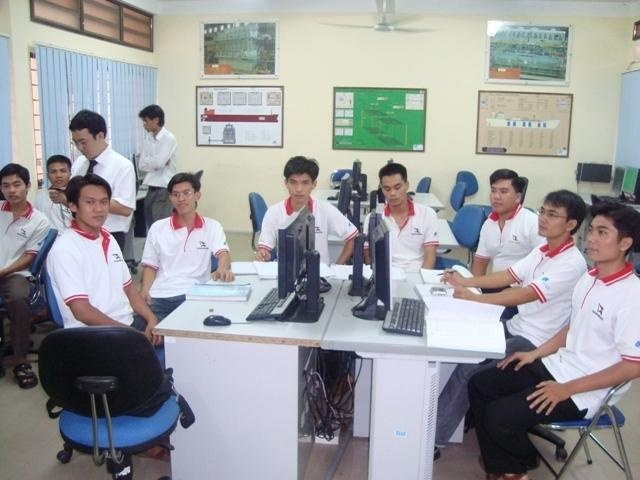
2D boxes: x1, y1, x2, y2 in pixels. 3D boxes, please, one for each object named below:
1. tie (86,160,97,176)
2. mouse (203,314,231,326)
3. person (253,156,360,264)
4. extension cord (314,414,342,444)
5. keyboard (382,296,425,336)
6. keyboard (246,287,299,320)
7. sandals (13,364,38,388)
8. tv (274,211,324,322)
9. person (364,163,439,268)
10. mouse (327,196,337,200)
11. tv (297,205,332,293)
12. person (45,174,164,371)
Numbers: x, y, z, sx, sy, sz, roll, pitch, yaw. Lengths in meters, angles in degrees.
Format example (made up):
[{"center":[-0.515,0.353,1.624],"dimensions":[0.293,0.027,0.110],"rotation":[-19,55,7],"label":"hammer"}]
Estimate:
[{"center":[-1.691,-0.553,3.887],"dimensions":[0.075,0.093,0.169],"rotation":[-6,14,-26],"label":"tie"},{"center":[-0.539,0.421,2.756],"dimensions":[0.094,0.032,0.067],"rotation":[-1,7,-4],"label":"mouse"},{"center":[-0.118,-0.070,3.807],"dimensions":[0.757,1.051,0.608],"rotation":[-1,5,-4],"label":"person"},{"center":[0.049,1.193,3.314],"dimensions":[0.162,0.164,0.101],"rotation":[3,-5,-17],"label":"extension cord"},{"center":[0.464,0.410,2.852],"dimensions":[0.203,0.054,0.327],"rotation":[7,24,7],"label":"keyboard"},{"center":[-0.273,0.360,2.960],"dimensions":[0.173,0.059,0.352],"rotation":[-3,17,6],"label":"keyboard"},{"center":[-2.108,0.966,3.754],"dimensions":[0.138,0.131,0.208],"rotation":[-8,15,-34],"label":"sandals"},{"center":[-0.116,0.163,2.897],"dimensions":[0.175,0.539,0.519],"rotation":[5,15,8],"label":"tv"},{"center":[0.582,-0.110,3.930],"dimensions":[0.554,0.904,0.498],"rotation":[-4,5,20],"label":"person"},{"center":[0.145,-0.490,5.926],"dimensions":[0.038,0.056,0.148],"rotation":[-2,-7,31],"label":"mouse"},{"center":[-0.037,0.051,3.203],"dimensions":[0.254,0.504,0.485],"rotation":[2,11,5],"label":"tv"},{"center":[-1.179,0.264,2.971],"dimensions":[0.623,1.236,0.552],"rotation":[6,11,25],"label":"person"}]
